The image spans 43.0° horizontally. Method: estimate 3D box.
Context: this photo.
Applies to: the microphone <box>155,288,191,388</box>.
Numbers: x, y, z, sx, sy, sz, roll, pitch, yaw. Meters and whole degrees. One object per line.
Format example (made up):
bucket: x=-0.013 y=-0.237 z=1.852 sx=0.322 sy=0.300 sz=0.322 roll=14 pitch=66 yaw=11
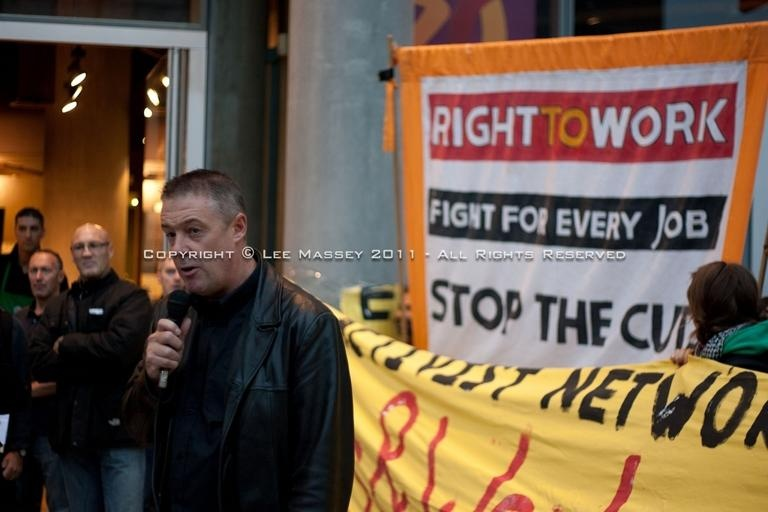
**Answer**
microphone: x=-1.301 y=0.535 z=6.146 sx=0.152 sy=0.673 sz=0.176 roll=7 pitch=-18 yaw=0
